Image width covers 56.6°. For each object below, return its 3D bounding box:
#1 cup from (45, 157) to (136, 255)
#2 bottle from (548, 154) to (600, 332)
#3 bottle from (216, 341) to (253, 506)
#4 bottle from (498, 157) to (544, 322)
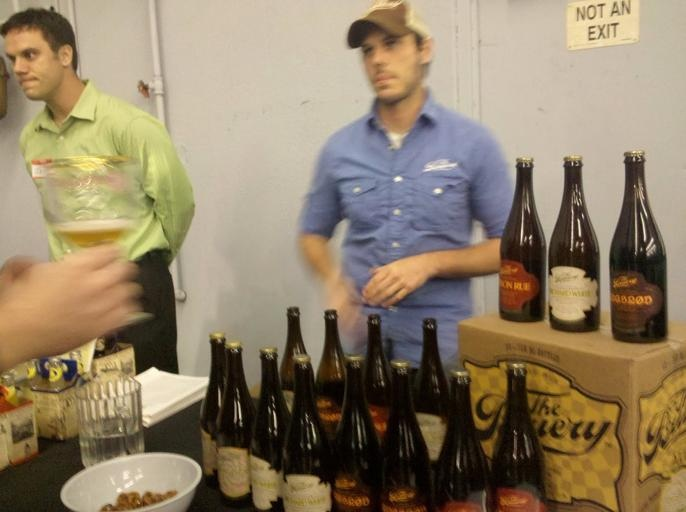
[{"bbox_3d":[-0.480,-0.111,1.321,0.164,0.201,0.173,1,10,0],"label":"cup"},{"bbox_3d":[0.465,-0.035,1.292,0.096,0.337,0.194,-1,8,18],"label":"bottle"},{"bbox_3d":[-0.230,0.338,1.345,0.089,0.334,0.139,-5,8,-13],"label":"bottle"},{"bbox_3d":[0.378,-0.042,1.346,0.095,0.330,0.162,-1,8,18],"label":"bottle"}]
